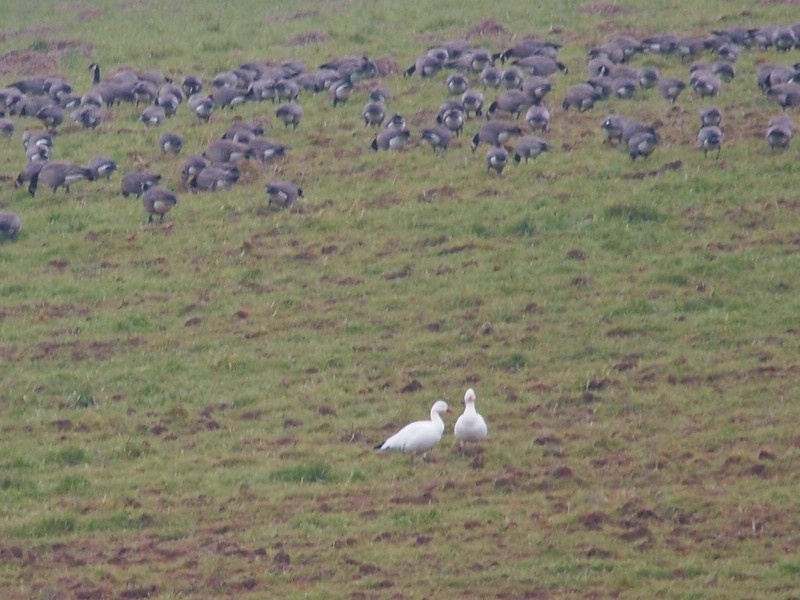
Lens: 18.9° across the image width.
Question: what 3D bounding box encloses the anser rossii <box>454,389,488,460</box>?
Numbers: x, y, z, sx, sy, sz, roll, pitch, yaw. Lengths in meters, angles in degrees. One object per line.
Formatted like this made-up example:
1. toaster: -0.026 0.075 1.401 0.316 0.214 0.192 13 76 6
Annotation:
1. anser rossii: 2.060 3.424 68.809 1.005 1.708 1.353 -3 27 1
